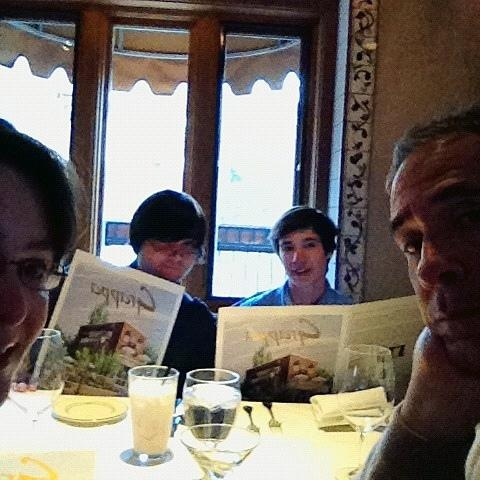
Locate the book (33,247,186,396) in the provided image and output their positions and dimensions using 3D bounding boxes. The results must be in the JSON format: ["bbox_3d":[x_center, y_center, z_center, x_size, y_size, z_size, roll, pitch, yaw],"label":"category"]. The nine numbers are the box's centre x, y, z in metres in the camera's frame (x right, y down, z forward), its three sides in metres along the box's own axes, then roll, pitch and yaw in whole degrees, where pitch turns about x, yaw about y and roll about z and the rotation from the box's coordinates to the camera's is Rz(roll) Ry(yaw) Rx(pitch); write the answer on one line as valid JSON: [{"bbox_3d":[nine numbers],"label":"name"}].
[{"bbox_3d":[-0.328,0.219,1.270,0.314,0.427,0.033,23,-25,-18],"label":"book"}]
